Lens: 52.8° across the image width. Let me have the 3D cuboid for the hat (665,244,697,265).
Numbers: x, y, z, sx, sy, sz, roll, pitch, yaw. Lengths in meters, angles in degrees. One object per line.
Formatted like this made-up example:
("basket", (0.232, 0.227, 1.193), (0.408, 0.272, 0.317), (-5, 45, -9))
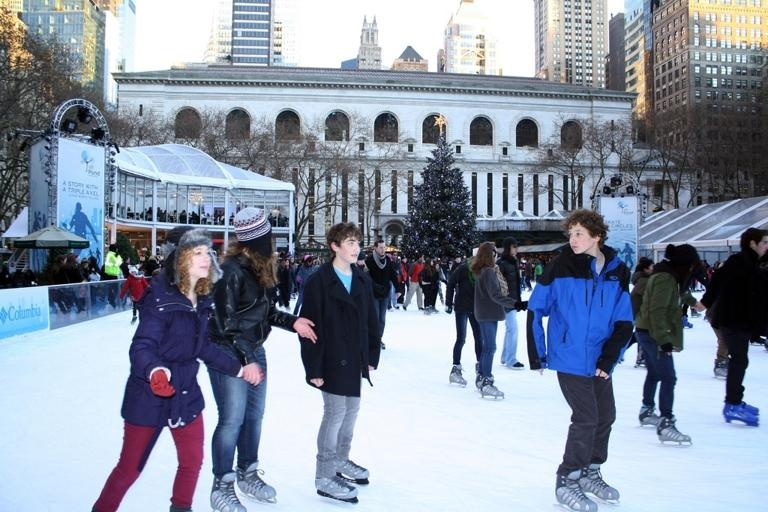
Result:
("hat", (5.194, -0.008, 13.611), (0.459, 0.408, 0.358), (2, 0, -2))

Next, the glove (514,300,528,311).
("glove", (2.399, 0.872, 13.553), (0.151, 0.145, 0.517), (-17, -6, -2))

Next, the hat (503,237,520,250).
("hat", (2.655, -0.244, 16.272), (0.254, 0.266, 0.238), (-8, 10, 7))

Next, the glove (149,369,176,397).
("glove", (-2.995, 1.762, 10.545), (0.280, 0.380, 0.170), (-25, -5, -4))

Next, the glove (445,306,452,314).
("glove", (1.430, 1.198, 17.053), (0.196, 0.203, 0.207), (3, -3, 4))

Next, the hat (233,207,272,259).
("hat", (-1.964, -0.410, 11.745), (0.537, 0.767, 0.611), (-16, 16, 1))

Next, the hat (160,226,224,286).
("hat", (-2.813, -0.043, 11.168), (0.848, 0.889, 0.653), (-2, 0, 44))

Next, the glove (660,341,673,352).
("glove", (4.710, 1.520, 12.967), (0.165, 0.130, 0.172), (-2, 0, 23))

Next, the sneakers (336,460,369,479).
("sneakers", (-0.470, 3.273, 11.976), (0.609, 0.289, 0.214), (3, 1, 6))
